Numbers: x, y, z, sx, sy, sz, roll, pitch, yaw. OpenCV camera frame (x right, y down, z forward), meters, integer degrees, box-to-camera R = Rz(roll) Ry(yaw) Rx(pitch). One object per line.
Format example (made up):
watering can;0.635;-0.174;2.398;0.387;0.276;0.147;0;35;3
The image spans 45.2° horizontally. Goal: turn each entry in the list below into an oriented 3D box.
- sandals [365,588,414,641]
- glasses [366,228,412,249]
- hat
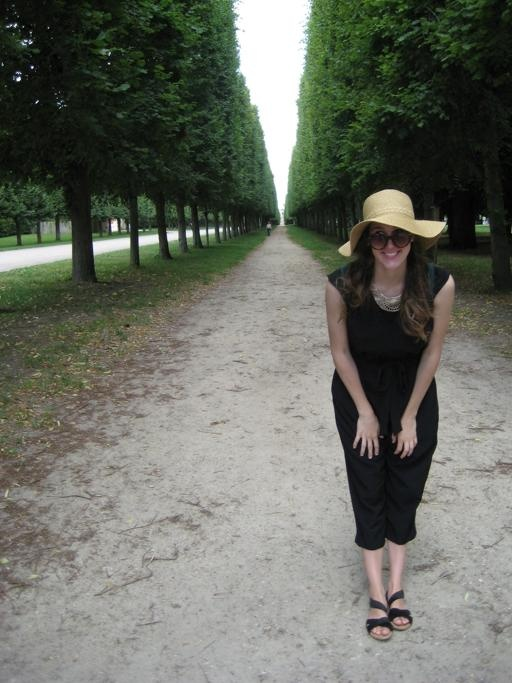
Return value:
sandals;0.531;1.111;2.519;0.222;0.109;0.150;-10;13;-34
glasses;0.546;-0.423;2.523;0.170;0.081;0.083;-1;11;10
hat;0.551;-0.518;2.636;0.369;0.191;0.362;-5;-16;-4
